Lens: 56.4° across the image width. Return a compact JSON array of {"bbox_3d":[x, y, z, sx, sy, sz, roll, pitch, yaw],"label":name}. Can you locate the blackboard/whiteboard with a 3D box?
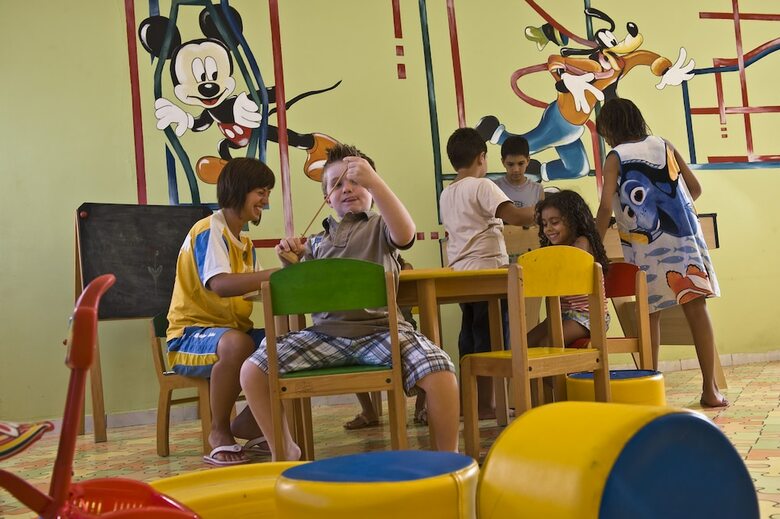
[{"bbox_3d":[-1.564,0.029,4.550,0.783,0.668,0.286,-1,-2,-32],"label":"blackboard/whiteboard"}]

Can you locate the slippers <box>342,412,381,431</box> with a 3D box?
[{"bbox_3d":[-0.182,1.016,4.577,0.170,0.070,0.100,1,-2,-13],"label":"slippers"}]

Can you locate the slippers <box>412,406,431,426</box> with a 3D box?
[{"bbox_3d":[0.186,0.956,4.479,0.094,0.104,0.283,1,5,-1],"label":"slippers"}]
